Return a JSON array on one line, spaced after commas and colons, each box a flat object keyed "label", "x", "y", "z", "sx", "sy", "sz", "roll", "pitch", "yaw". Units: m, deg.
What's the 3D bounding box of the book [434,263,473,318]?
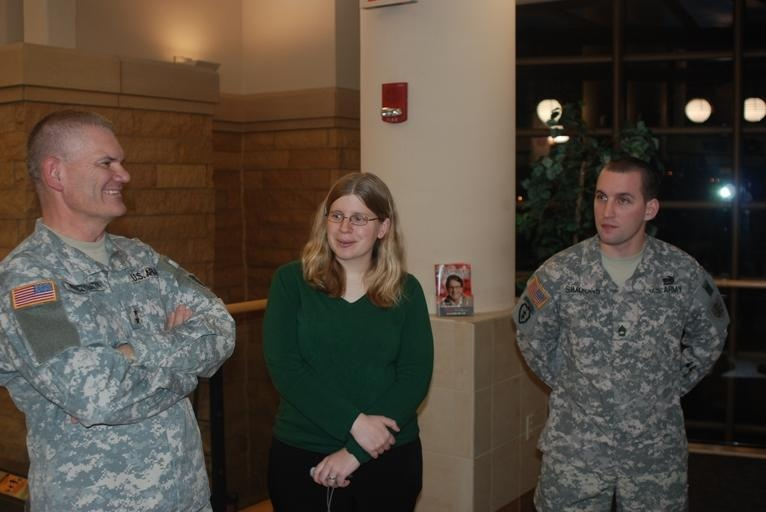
[{"label": "book", "x": 0.426, "y": 0.212, "z": 3.833, "sx": 0.311, "sy": 0.421, "sz": 0.143, "roll": -2, "pitch": 0, "yaw": -2}]
